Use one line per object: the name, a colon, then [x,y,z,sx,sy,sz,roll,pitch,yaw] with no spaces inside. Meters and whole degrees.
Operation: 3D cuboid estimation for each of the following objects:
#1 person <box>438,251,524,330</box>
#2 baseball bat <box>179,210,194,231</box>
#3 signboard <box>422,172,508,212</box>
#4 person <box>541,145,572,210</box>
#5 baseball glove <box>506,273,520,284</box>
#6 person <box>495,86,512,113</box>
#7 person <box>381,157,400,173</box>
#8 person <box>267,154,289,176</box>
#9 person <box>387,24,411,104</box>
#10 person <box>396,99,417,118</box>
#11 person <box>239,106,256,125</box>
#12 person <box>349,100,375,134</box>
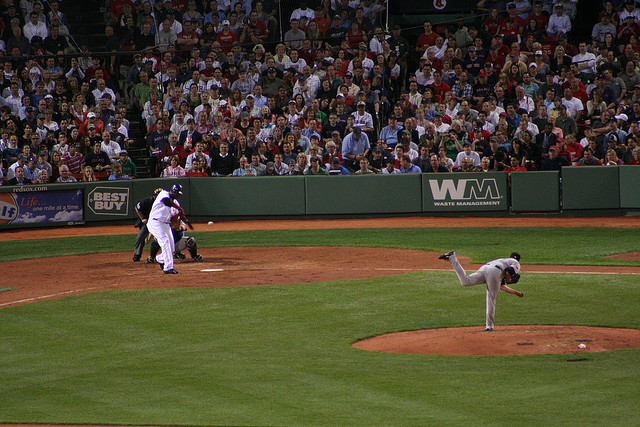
person: [3.990,1.945,26.808,1.647,1.847,0.522,-1,6,-3]
baseball bat: [-4.211,0.251,34.839,0.130,0.871,0.129,-20,27,39]
signboard: [5.097,-0.697,39.310,2.896,1.398,0.534,0,6,5]
person: [8.172,-1.411,38.902,0.831,1.732,0.493,-1,-3,0]
baseball glove: [4.618,1.619,26.770,0.284,0.217,0.203,-2,-5,-6]
person: [6.674,-4.149,40.773,0.573,0.891,0.599,0,6,7]
person: [2.495,-1.653,39.528,0.797,0.574,0.448,0,16,3]
person: [-1.510,-1.664,39.771,0.865,0.749,0.438,0,10,2]
person: [3.127,-5.852,43.333,0.898,2.859,0.762,6,-5,-43]
person: [3.114,-3.795,40.759,0.782,0.643,0.575,-3,6,-20]
person: [-2.652,-3.562,40.879,0.479,0.707,0.195,0,17,12]
person: [1.506,-3.420,40.562,0.849,1.158,1.205,-1,6,3]
